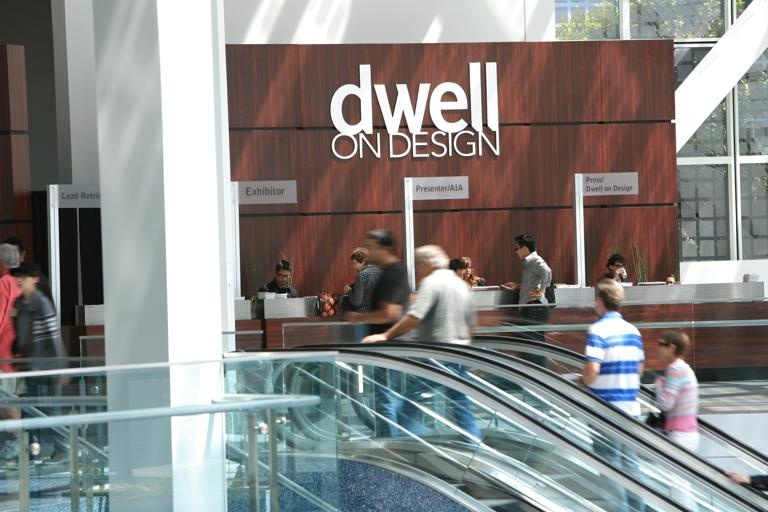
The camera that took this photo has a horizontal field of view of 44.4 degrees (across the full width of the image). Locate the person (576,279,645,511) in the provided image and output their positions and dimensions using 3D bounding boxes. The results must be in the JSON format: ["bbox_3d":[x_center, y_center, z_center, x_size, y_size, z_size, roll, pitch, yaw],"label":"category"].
[{"bbox_3d":[2.011,1.012,8.262,0.530,1.617,1.044,-2,-3,14],"label":"person"}]

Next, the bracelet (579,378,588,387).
[{"bbox_3d":[1.815,1.148,8.571,0.081,0.096,0.105,0,-13,-5],"label":"bracelet"}]

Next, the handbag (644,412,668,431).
[{"bbox_3d":[2.489,1.500,8.557,0.135,0.046,0.191,16,13,3],"label":"handbag"}]

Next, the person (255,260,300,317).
[{"bbox_3d":[-1.354,0.404,11.934,0.503,0.716,0.776,-1,-3,-7],"label":"person"}]

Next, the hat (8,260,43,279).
[{"bbox_3d":[-3.672,0.134,9.706,0.225,0.120,0.159,13,-14,-38],"label":"hat"}]

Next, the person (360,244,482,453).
[{"bbox_3d":[0.332,0.756,8.315,0.987,1.695,0.965,-2,-3,4],"label":"person"}]

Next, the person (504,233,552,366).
[{"bbox_3d":[1.690,0.532,11.023,0.445,1.429,0.597,2,-36,4],"label":"person"}]
